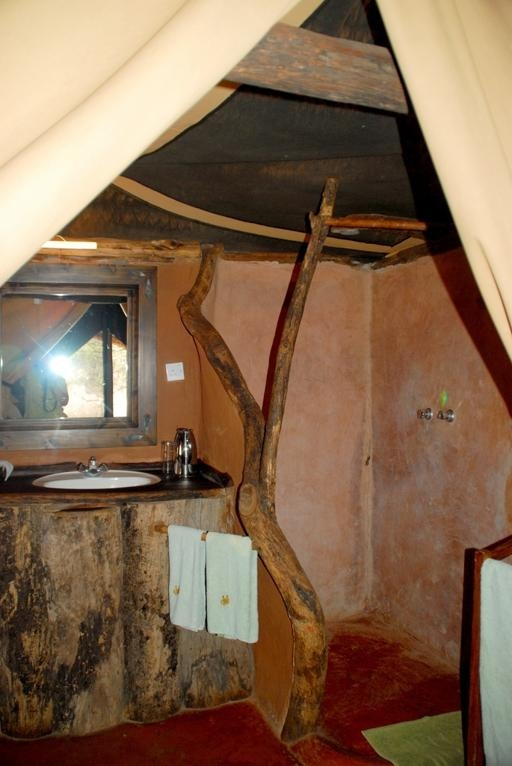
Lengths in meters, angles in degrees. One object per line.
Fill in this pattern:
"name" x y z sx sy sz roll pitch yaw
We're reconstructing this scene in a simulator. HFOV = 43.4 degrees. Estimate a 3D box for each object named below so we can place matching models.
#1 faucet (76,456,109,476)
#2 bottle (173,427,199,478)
"faucet" -0.793 0.377 3.037 0.101 0.069 0.101 0 3 -41
"bottle" -0.342 0.333 3.076 0.150 0.258 0.188 1 -12 -6
